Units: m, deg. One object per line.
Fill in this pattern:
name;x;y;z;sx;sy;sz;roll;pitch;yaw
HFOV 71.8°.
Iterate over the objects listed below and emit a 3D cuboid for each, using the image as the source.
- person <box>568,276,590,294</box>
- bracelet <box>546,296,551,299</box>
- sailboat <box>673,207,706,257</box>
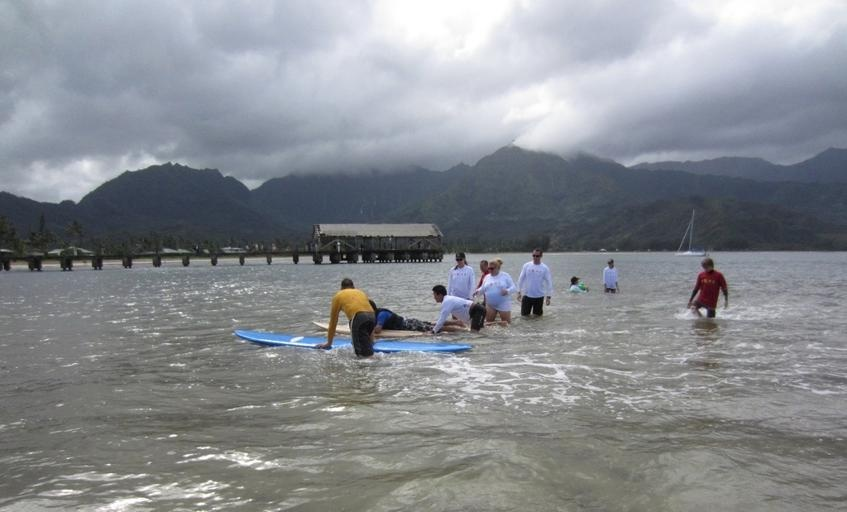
person;10.350;2.032;38.814;0.584;0.958;0.590;-45;37;-17
bracelet;4.694;1.601;21.926;0.112;0.106;0.116;-6;-11;24
sailboat;90.362;-6.343;197.878;3.425;13.734;12.750;-10;4;-30
